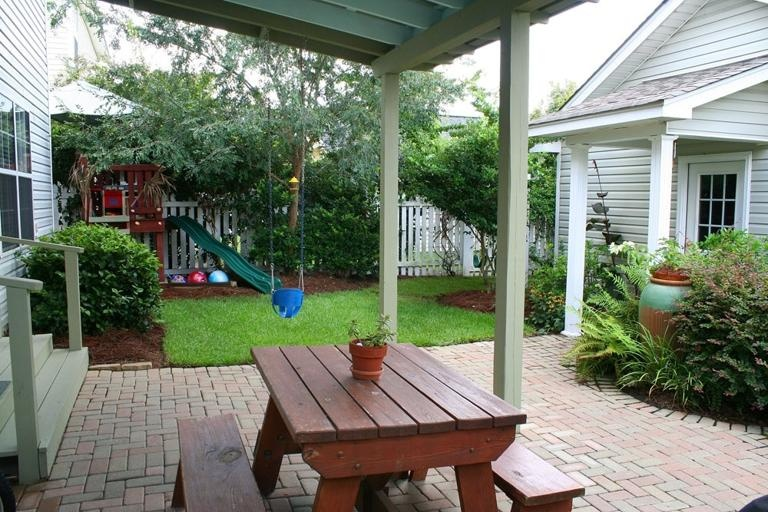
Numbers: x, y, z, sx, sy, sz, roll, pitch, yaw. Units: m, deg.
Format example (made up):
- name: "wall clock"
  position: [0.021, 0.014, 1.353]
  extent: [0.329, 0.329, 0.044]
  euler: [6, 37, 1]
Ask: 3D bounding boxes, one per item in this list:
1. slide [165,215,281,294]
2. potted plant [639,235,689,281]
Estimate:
- name: "slide"
  position: [-3.480, -0.006, 11.525]
  extent: [2.059, 0.304, 0.359]
  euler: [39, 37, 1]
- name: "potted plant"
  position: [3.415, 0.032, 6.567]
  extent: [0.452, 0.360, 0.706]
  euler: [4, 15, 24]
